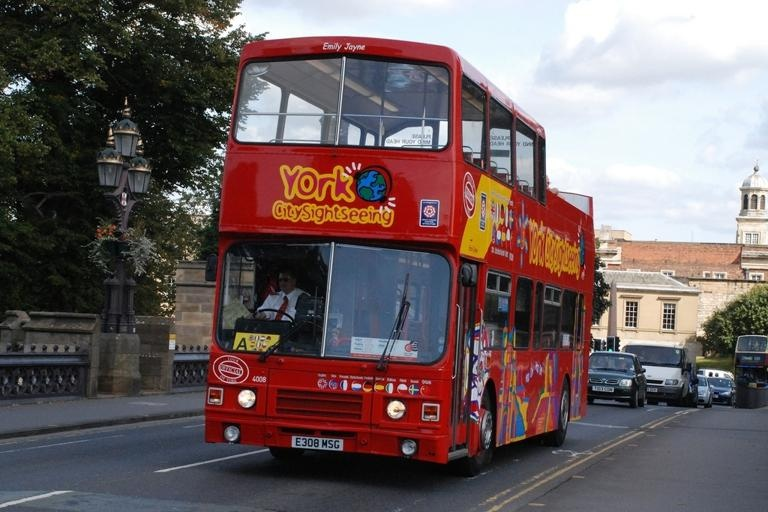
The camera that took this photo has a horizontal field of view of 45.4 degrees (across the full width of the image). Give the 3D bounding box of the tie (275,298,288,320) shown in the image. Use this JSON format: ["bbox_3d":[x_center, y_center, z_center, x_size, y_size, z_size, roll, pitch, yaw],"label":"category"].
[{"bbox_3d":[-1.625,0.850,14.761,0.219,0.364,0.052,2,-1,24],"label":"tie"}]

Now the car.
[{"bbox_3d":[11.759,5.008,38.705,2.798,2.368,5.506,-3,-12,24],"label":"car"}]

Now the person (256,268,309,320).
[{"bbox_3d":[-1.623,0.776,14.759,0.699,1.017,0.567,3,-8,7],"label":"person"}]
